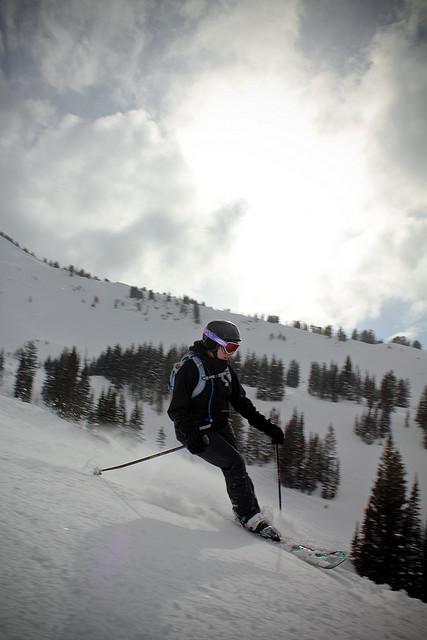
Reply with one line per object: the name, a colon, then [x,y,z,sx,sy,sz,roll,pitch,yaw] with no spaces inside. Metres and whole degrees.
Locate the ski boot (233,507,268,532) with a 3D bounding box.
ski boot: [0.511,2.444,6.013,0.230,0.105,0.167,18,-9,44]
